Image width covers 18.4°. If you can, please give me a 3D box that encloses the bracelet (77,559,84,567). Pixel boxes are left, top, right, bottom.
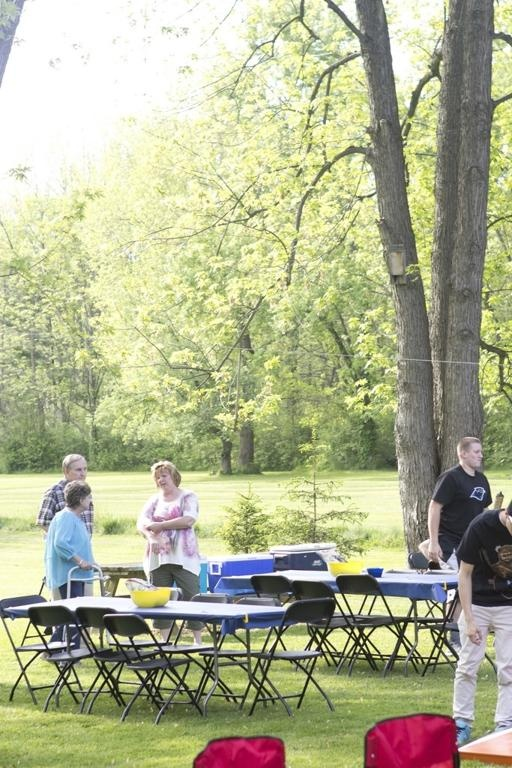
[{"bbox_3d":[-1.540,1.614,14.261,0.019,0.061,0.066,-5,-1,-15],"label":"bracelet"}]

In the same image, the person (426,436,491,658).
[{"bbox_3d":[1.978,1.400,14.230,0.869,1.777,0.536,-4,2,-14],"label":"person"}]

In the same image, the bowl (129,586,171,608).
[{"bbox_3d":[-0.857,1.782,13.251,0.231,0.092,0.190,-8,-9,39],"label":"bowl"}]
